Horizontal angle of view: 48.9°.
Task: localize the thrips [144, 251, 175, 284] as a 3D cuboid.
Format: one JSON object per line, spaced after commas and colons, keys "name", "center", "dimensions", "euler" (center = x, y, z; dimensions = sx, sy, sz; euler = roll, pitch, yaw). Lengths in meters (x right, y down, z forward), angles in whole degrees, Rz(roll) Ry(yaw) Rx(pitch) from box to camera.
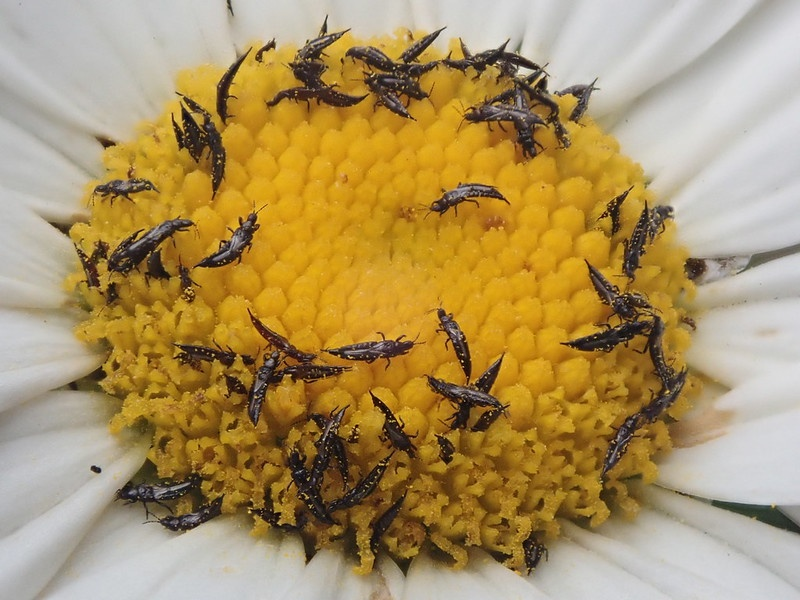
{"name": "thrips", "center": [-1.256, -0.168, 4.563], "dimensions": [0.168, 0.050, 0.134], "euler": [-2, 101, -24]}
